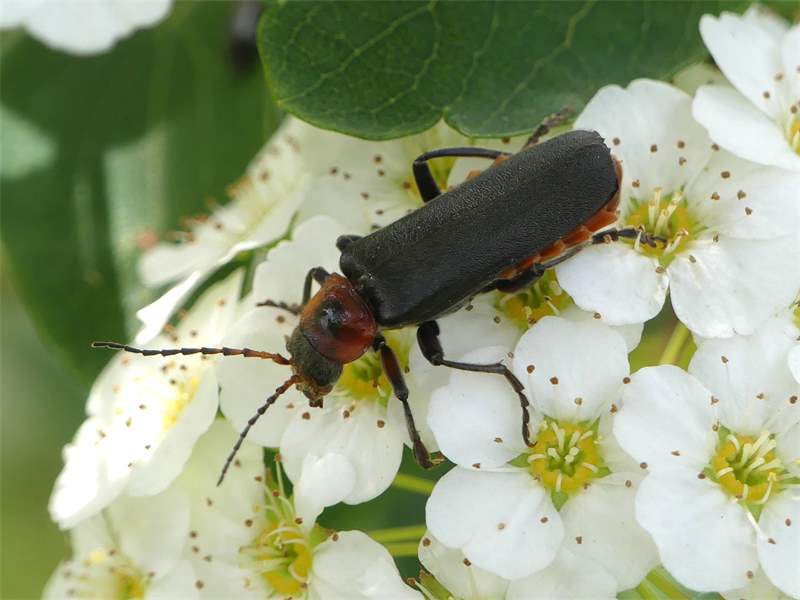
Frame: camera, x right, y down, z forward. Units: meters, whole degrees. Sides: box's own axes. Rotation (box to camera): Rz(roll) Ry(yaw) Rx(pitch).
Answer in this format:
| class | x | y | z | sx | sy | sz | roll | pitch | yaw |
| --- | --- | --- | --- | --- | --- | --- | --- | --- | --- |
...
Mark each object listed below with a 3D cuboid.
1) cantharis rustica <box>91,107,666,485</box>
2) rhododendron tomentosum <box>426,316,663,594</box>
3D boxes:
| class | x | y | z | sx | sy | sz | roll | pitch | yaw |
| --- | --- | --- | --- | --- | --- | --- | --- | --- | --- |
| cantharis rustica | -0.016 | 0.012 | 3.273 | 1.607 | 0.382 | 1.208 | -41 | 67 | 18 |
| rhododendron tomentosum | 0.400 | 0.499 | 2.958 | 0.723 | 0.238 | 0.782 | -34 | 78 | 5 |
